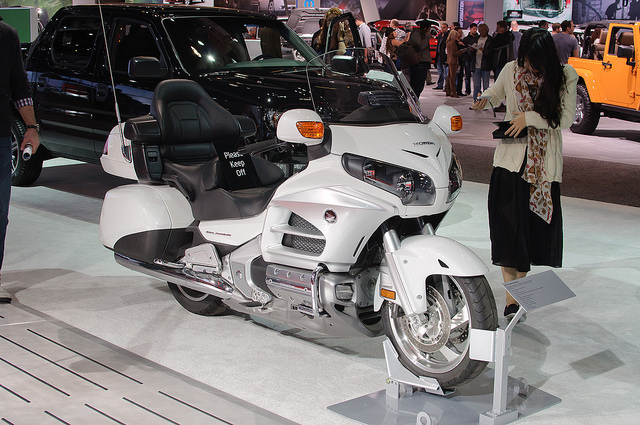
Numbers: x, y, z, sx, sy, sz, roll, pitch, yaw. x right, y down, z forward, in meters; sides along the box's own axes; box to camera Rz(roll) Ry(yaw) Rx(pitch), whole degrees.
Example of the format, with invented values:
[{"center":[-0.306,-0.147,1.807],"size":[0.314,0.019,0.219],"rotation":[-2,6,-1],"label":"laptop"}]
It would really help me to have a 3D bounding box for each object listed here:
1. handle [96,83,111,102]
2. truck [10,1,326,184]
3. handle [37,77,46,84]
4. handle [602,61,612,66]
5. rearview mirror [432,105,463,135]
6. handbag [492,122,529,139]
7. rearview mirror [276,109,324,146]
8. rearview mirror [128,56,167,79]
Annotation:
[{"center":[-3.265,-1.845,6.550],"size":[0.221,0.313,0.095],"rotation":[6,11,8],"label":"handle"},{"center":[-2.304,-2.138,6.854],"size":[5.113,1.975,3.084],"rotation":[9,17,34],"label":"truck"},{"center":[-4.610,-2.215,7.184],"size":[0.128,0.103,0.033],"rotation":[5,-3,11],"label":"handle"},{"center":[7.953,-4.162,12.004],"size":[0.071,0.115,0.295],"rotation":[-2,12,-10],"label":"handle"},{"center":[0.920,-0.681,3.145],"size":[0.200,0.202,0.186],"rotation":[4,13,13],"label":"rearview mirror"},{"center":[1.575,-0.700,3.607],"size":[0.290,0.130,0.212],"rotation":[1,14,31],"label":"handbag"},{"center":[-0.121,-0.550,2.775],"size":[0.312,0.204,0.226],"rotation":[-2,6,11],"label":"rearview mirror"},{"center":[-2.215,-1.896,5.597],"size":[0.336,0.287,0.478],"rotation":[10,12,43],"label":"rearview mirror"}]
